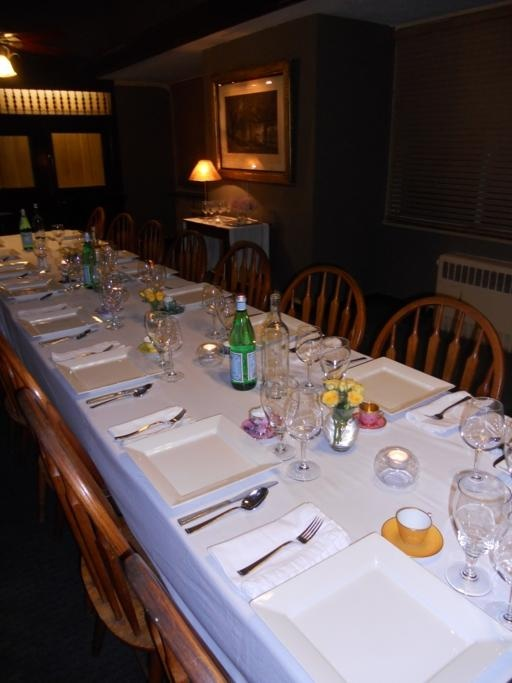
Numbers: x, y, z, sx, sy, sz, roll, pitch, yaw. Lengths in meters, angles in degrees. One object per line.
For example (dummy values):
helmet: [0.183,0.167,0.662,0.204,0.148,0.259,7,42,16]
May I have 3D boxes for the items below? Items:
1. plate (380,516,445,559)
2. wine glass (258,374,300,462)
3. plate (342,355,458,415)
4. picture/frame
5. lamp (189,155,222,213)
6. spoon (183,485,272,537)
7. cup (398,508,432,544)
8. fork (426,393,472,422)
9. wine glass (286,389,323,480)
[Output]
plate: [0.274,0.336,0.838,0.070,0.015,0.071,24,24,12]
wine glass: [0.053,0.182,1.120,0.084,0.190,0.087,-15,31,-23]
plate: [0.400,0.130,1.426,0.177,0.019,0.167,-19,36,-29]
picture/frame: [-0.062,-2.113,4.828,0.064,0.954,1.093,-20,29,-38]
lamp: [-0.587,-1.741,5.624,0.333,0.633,0.333,0,33,0]
spoon: [-0.036,0.306,0.954,0.241,0.028,0.051,-14,29,-43]
cup: [0.270,0.309,0.837,0.055,0.042,0.055,5,34,-3]
fork: [0.498,0.172,1.261,0.141,0.016,0.020,-23,26,-40]
wine glass: [0.103,0.206,1.067,0.088,0.196,0.098,-9,28,-16]
